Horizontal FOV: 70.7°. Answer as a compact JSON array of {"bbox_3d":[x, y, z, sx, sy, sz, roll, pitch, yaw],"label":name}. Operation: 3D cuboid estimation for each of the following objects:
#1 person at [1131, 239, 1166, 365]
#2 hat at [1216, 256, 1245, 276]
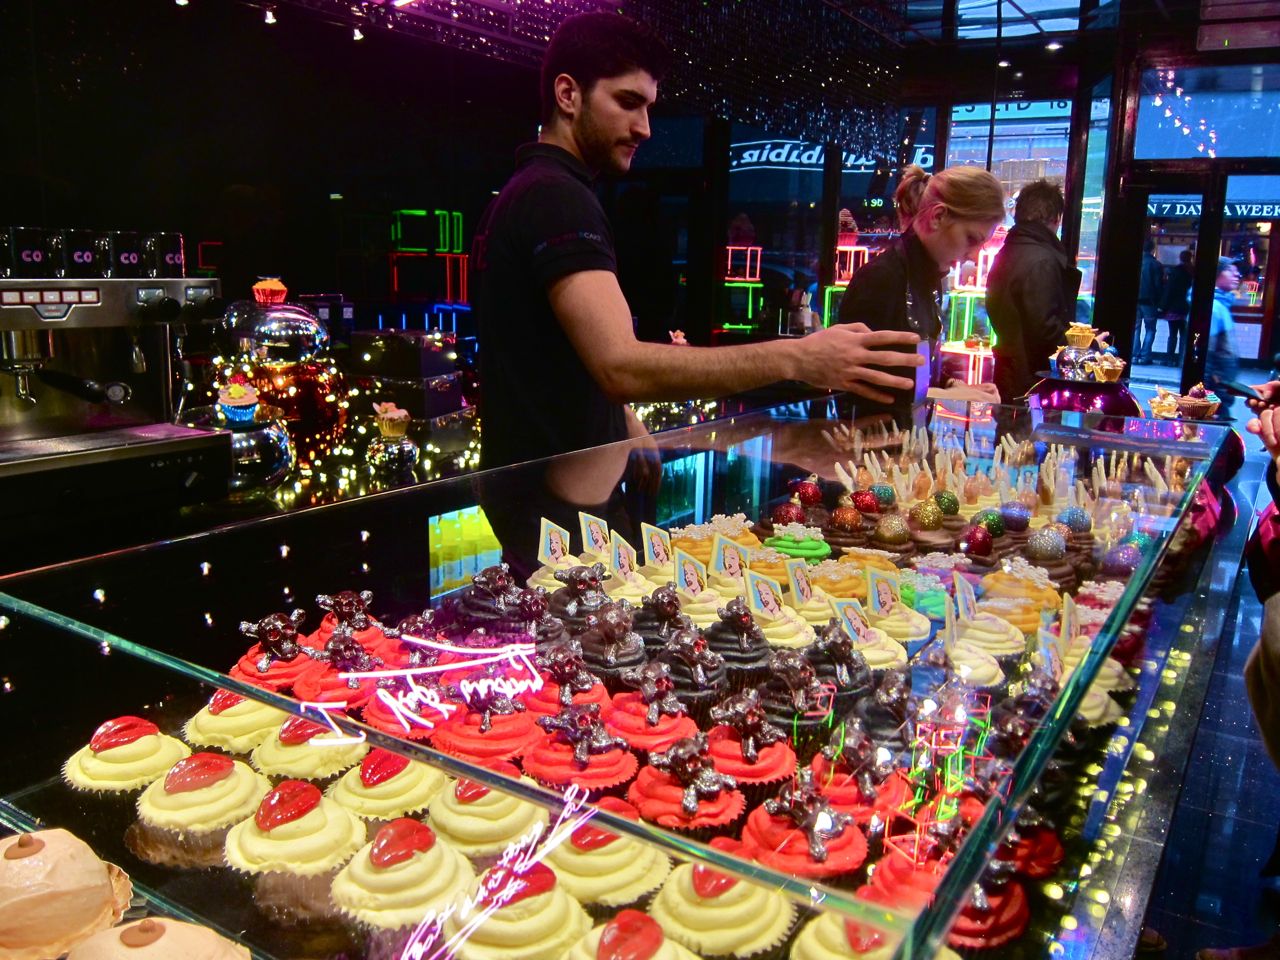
[{"bbox_3d":[4.709,-1.646,8.321,0.213,1.134,0.306,2,14,21],"label":"person"},{"bbox_3d":[5.157,-1.869,7.856,0.195,0.203,0.154,5,16,40],"label":"hat"}]
